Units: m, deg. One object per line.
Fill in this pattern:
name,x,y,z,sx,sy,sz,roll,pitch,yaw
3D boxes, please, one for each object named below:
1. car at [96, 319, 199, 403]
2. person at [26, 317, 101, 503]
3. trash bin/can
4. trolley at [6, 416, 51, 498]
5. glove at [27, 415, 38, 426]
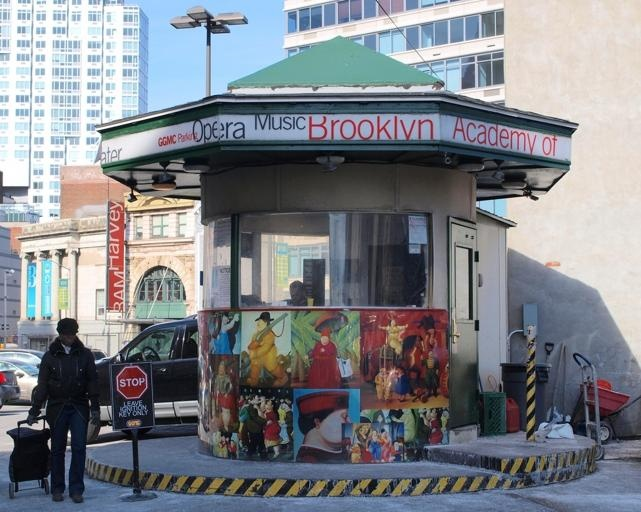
car,-4.042,2.568,32.709,2.164,2.331,1.722,-1,0,-43
person,-4.875,2.777,26.846,1.274,3.760,1.151,2,-7,-17
trash bin/can,4.483,3.044,30.729,0.912,1.435,1.042,0,0,27
trolley,-5.634,3.791,26.879,0.779,1.449,0.870,2,-2,-32
glove,-5.379,3.046,26.337,0.155,0.168,0.214,2,-7,-3
